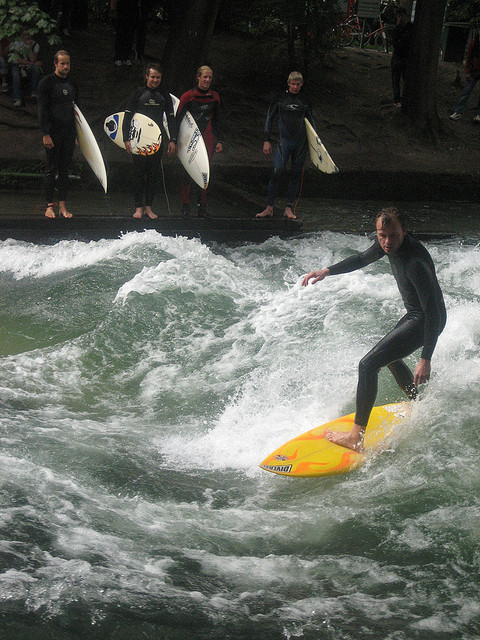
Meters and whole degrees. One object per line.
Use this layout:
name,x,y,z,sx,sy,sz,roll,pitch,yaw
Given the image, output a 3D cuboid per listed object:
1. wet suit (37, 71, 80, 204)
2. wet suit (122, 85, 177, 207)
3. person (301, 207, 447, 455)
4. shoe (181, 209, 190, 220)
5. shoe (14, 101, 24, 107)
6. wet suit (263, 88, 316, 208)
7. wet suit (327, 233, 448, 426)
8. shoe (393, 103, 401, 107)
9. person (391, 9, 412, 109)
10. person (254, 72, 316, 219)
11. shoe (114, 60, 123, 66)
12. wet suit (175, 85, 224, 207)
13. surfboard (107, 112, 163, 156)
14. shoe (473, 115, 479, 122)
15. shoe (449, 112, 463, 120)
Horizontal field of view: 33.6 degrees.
wet suit,-1.854,-1.798,8.087,0.362,1.328,0.597,5,16,-6
wet suit,-0.963,-1.796,8.502,0.574,1.304,0.853,5,15,-6
person,0.881,0.022,4.729,0.814,1.393,0.864,-14,26,-42
shoe,-0.599,-1.184,8.988,0.080,0.102,0.163,4,15,-7
shoe,-3.747,-3.655,13.552,0.120,0.100,0.205,5,15,-5
wet suit,0.537,-1.908,9.037,0.539,1.337,0.553,6,15,0
wet suit,0.909,0.096,4.645,0.572,1.203,0.735,8,15,4
shoe,3.293,-4.475,16.645,0.214,0.066,0.081,11,-6,0
person,3.177,-5.131,15.833,0.365,1.844,1.386,8,15,6
person,0.523,-1.902,8.927,0.517,1.621,0.919,10,16,11
shoe,-2.532,-5.340,16.607,0.169,0.118,0.094,12,16,21
wet suit,-0.458,-1.875,8.805,0.518,1.344,1.227,6,15,-3
surfboard,-1.111,-1.898,8.120,0.693,0.411,0.114,9,9,-44
shoe,4.820,-4.105,16.240,0.096,0.161,0.101,-4,11,-21
shoe,4.466,-4.163,16.390,0.128,0.132,0.313,23,5,-26
